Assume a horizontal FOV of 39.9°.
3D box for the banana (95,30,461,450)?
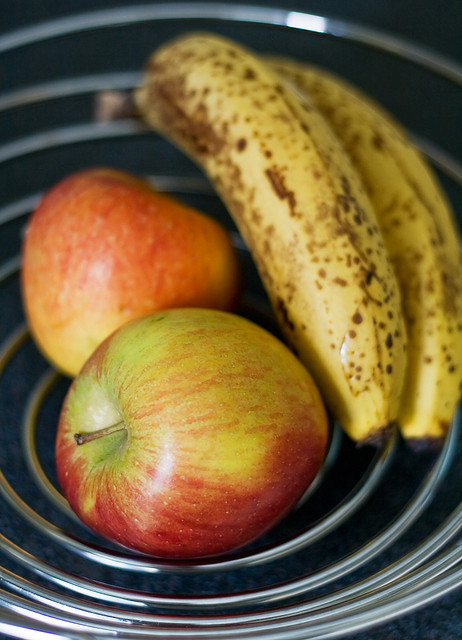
[{"bbox_3d":[0.057,-0.078,0.471,0.221,0.072,0.294,-20,100,6],"label":"banana"}]
